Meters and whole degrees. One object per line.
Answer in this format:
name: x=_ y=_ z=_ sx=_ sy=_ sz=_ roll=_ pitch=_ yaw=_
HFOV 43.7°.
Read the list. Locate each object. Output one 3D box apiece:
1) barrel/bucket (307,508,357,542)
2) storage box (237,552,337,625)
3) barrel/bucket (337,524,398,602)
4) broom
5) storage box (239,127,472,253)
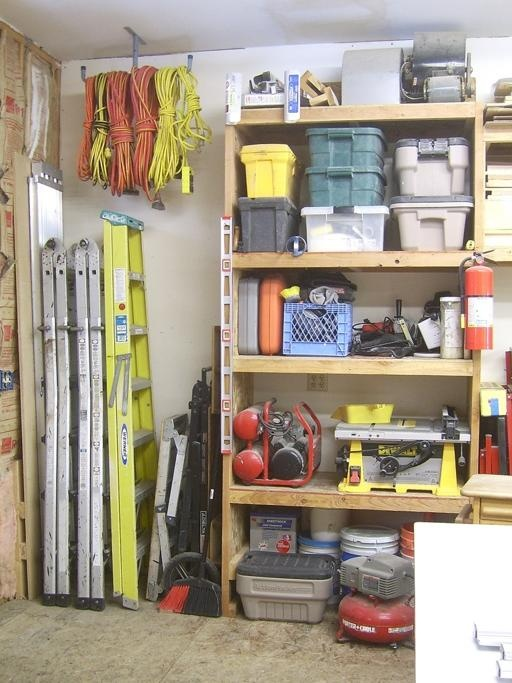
barrel/bucket: x=0.375 y=0.872 z=3.115 sx=0.169 sy=0.165 sz=0.159 roll=2 pitch=-1 yaw=0
storage box: x=0.140 y=1.113 z=2.888 sx=0.427 sy=0.261 sz=0.281 roll=0 pitch=1 yaw=13
barrel/bucket: x=0.510 y=1.002 z=3.023 sx=0.292 sy=0.306 sz=0.272 roll=1 pitch=5 yaw=0
broom: x=-0.287 y=0.846 z=2.995 sx=0.239 sy=0.777 sz=0.274 roll=2 pitch=6 yaw=10
storage box: x=0.499 y=-0.707 z=2.912 sx=0.914 sy=0.641 sz=0.392 roll=0 pitch=0 yaw=14
